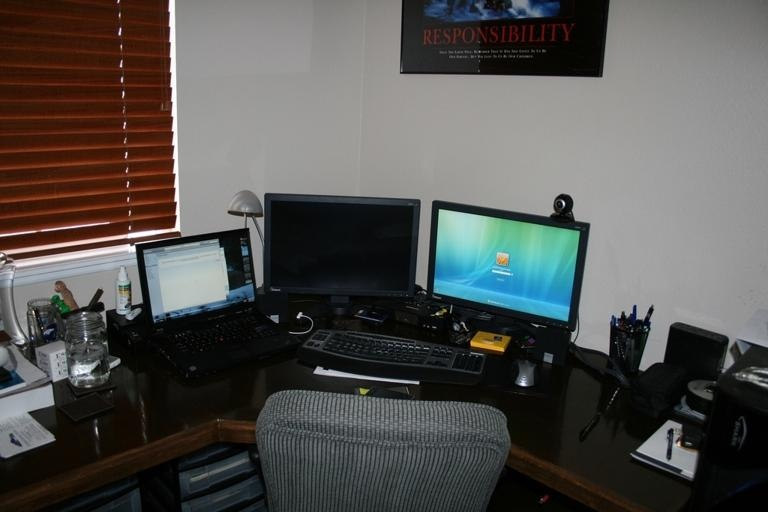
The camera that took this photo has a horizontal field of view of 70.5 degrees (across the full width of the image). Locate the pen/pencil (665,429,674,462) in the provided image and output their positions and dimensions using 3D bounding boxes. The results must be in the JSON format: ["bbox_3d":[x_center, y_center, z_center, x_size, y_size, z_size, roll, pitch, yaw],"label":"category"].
[{"bbox_3d":[0.975,0.654,1.863,0.016,0.025,0.096,2,38,25],"label":"pen/pencil"}]

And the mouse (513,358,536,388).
[{"bbox_3d":[0.557,0.461,2.143,0.066,0.033,0.104,0,23,9],"label":"mouse"}]

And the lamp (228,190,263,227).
[{"bbox_3d":[-0.639,-0.229,2.510,0.129,0.129,0.128,12,19,32],"label":"lamp"}]

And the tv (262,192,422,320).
[{"bbox_3d":[-0.205,0.003,2.546,0.585,0.428,0.170,1,14,-7],"label":"tv"}]

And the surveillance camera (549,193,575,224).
[{"bbox_3d":[0.751,-0.198,2.280,0.120,0.125,0.116,4,15,23],"label":"surveillance camera"}]

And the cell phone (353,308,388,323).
[{"bbox_3d":[-0.064,0.284,2.595,0.118,0.015,0.068,7,31,18],"label":"cell phone"}]
